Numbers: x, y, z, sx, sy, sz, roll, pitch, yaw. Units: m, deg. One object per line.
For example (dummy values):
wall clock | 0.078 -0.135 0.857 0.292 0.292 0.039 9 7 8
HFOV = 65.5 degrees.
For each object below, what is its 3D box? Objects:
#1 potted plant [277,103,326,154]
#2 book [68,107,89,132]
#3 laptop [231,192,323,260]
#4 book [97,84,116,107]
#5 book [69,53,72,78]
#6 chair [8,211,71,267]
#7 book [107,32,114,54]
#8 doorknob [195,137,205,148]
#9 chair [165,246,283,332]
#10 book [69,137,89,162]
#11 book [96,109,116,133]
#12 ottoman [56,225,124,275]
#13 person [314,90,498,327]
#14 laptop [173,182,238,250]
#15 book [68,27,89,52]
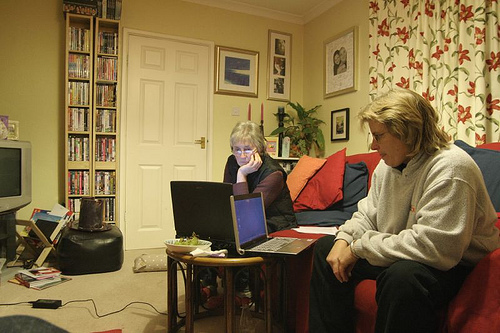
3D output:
potted plant | 0.743 -0.502 5.337 0.579 0.658 0.676 -4 -2 26
book | -2.002 -0.525 4.584 0.233 0.280 0.285 -2 -7 -5
laptop | 0.132 0.360 2.576 0.408 0.459 0.603 -7 -4 19
book | -1.694 -0.815 4.641 0.224 0.294 0.302 2 5 -11
book | -2.060 -1.154 4.434 0.032 0.262 0.067 -2 9 -24
chair | -2.203 0.694 4.001 0.631 0.581 0.516 1 -13 40
book | -1.649 -1.450 4.570 0.044 0.190 0.181 2 8 -6
doorknob | -0.646 -0.313 5.034 0.103 0.132 0.025 1 9 -10
chair | -0.274 0.803 2.631 0.603 0.446 0.603 0 -8 -1
book | -2.040 -0.190 4.502 0.186 0.237 0.234 -4 -3 -20
book | -1.738 -0.542 4.644 0.282 0.229 0.222 1 4 -13
ottoman | -1.534 0.818 3.714 0.473 0.313 0.490 1 -2 -20
person | 0.880 0.267 2.225 0.879 1.396 0.554 8 11 36
laptop | -0.244 0.263 2.713 0.540 0.459 0.411 0 -2 22
book | -1.971 -1.437 4.493 0.254 0.347 0.256 -1 11 -23
